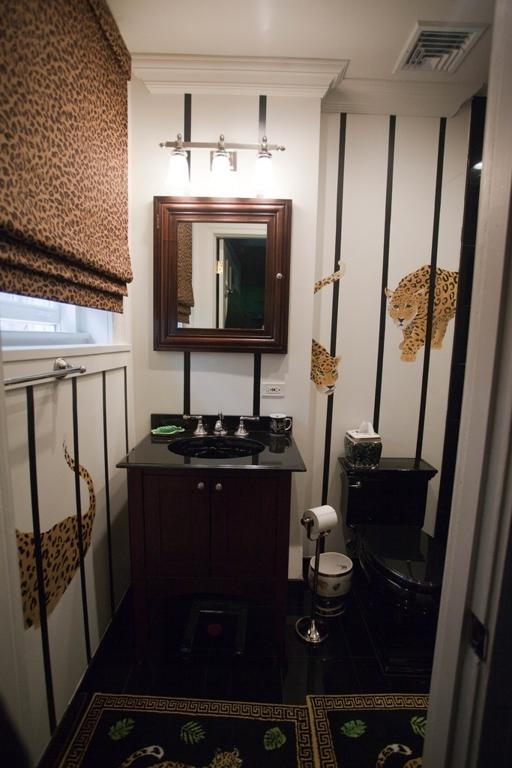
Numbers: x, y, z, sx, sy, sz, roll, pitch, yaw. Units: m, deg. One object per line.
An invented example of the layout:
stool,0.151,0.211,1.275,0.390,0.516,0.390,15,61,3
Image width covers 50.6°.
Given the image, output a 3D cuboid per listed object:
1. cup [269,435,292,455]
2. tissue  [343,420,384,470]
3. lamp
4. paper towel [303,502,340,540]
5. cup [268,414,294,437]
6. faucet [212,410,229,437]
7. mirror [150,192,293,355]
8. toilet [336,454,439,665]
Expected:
cup,0.093,0.238,2.104,0.064,0.055,0.043,-2,4,-13
tissue ,0.452,0.270,2.291,0.118,0.222,0.187,0,-1,-5
lamp,-0.129,-0.860,2.102,0.496,0.238,0.259,1,10,-8
paper towel,0.229,0.523,1.974,0.118,0.158,0.159,5,10,20
cup,0.103,0.170,2.232,0.089,0.077,0.062,-2,6,-17
faucet,-0.145,0.174,2.241,0.067,0.136,0.077,0,-1,0
mirror,-0.150,-0.470,2.179,0.484,0.664,0.083,2,10,-4
toilet,0.555,0.663,2.120,0.293,0.541,0.660,2,13,-3
